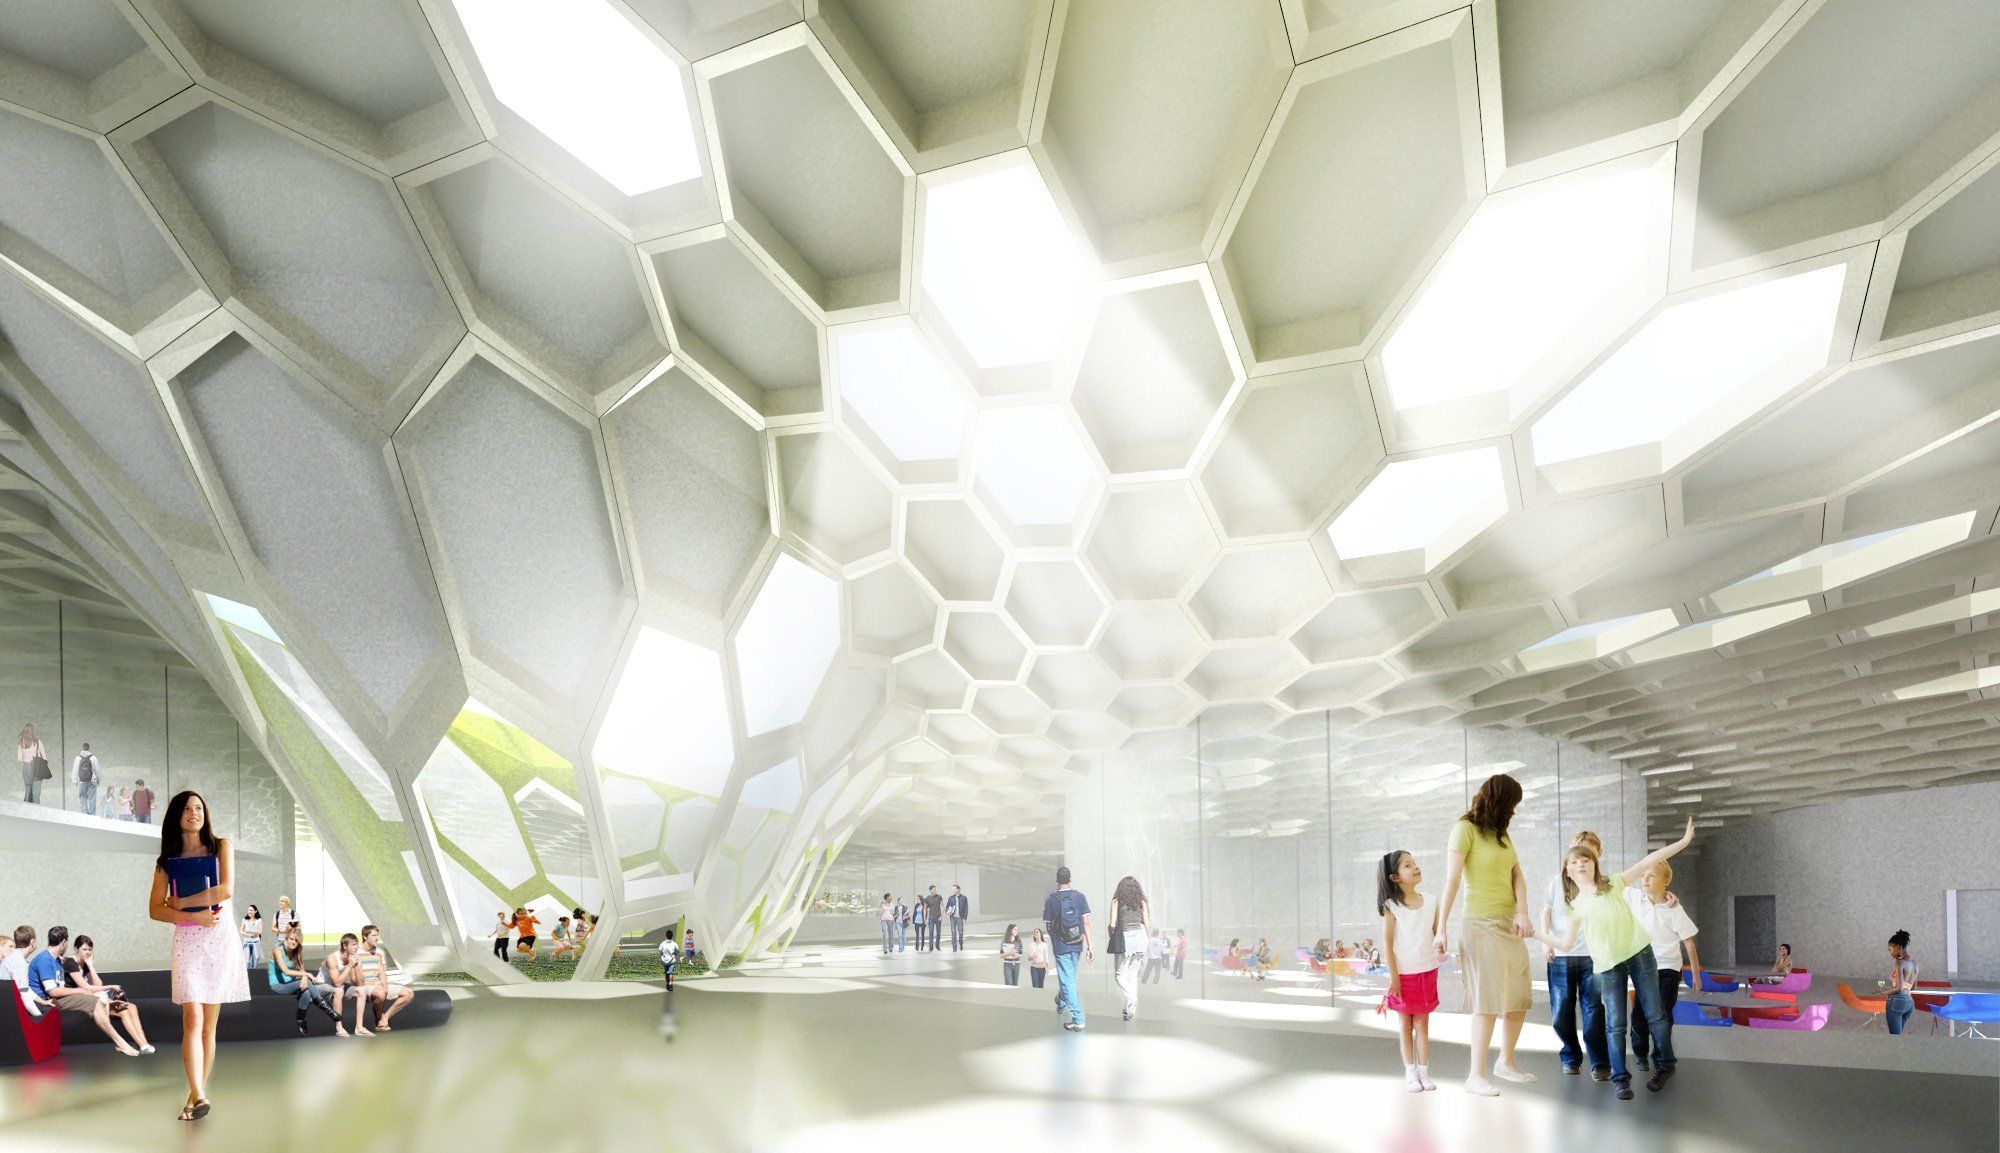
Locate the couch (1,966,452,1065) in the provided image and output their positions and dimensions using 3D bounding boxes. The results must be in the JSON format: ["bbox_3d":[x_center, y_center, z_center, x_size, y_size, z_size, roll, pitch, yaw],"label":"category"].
[{"bbox_3d":[-13.531,7.232,20.692,6.234,1.260,5.067,4,-9,-28],"label":"couch"}]

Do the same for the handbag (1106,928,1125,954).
[{"bbox_3d":[2.121,6.520,20.600,0.208,0.507,0.444,3,-8,-17],"label":"handbag"}]
